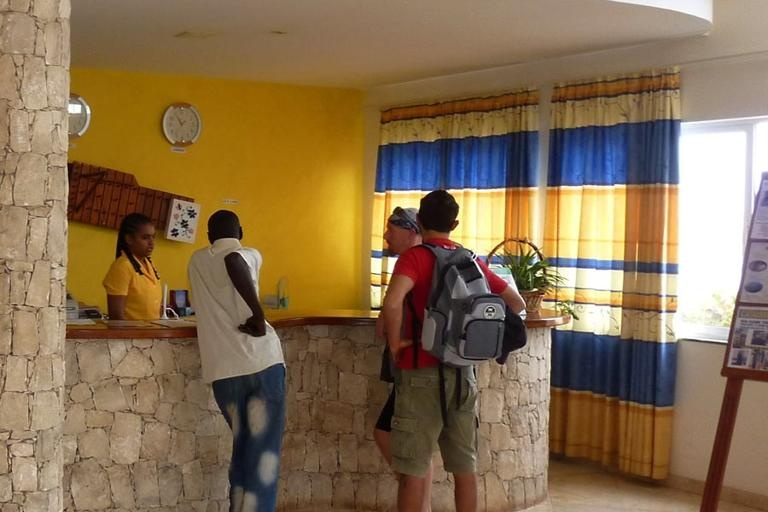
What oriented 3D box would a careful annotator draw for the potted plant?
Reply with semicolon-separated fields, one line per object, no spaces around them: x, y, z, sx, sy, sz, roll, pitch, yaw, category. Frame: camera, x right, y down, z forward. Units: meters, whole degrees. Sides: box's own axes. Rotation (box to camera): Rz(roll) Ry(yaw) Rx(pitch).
1.054;0.165;5.084;0.624;0.553;0.608;-6;-16;-44;potted plant

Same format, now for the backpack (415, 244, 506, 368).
0.419;0.301;3.572;0.442;0.618;0.600;1;0;-35;backpack

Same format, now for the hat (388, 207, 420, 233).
0.130;-0.218;4.130;0.183;0.118;0.132;26;6;10;hat

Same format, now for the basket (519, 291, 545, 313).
1.073;0.313;4.877;0.172;0.125;0.173;-1;1;-15;basket
